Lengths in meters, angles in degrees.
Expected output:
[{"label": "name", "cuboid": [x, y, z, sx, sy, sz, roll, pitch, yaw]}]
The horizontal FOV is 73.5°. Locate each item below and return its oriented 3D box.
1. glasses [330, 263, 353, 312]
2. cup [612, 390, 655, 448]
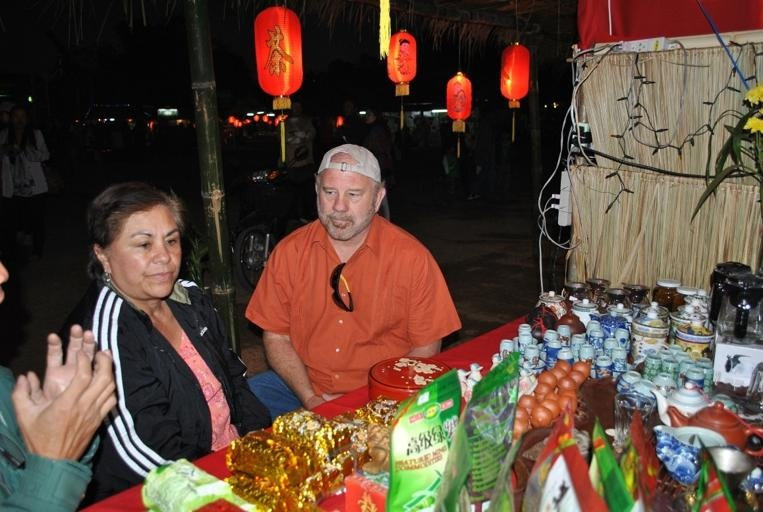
[{"label": "glasses", "cuboid": [-0.244, 0.200, 3.110, 0.139, 0.285, 0.088, -3, 10, -12]}, {"label": "cup", "cuboid": [1.110, 0.717, 2.267, 0.150, 0.210, 0.212, 7, 12, 38]}]
